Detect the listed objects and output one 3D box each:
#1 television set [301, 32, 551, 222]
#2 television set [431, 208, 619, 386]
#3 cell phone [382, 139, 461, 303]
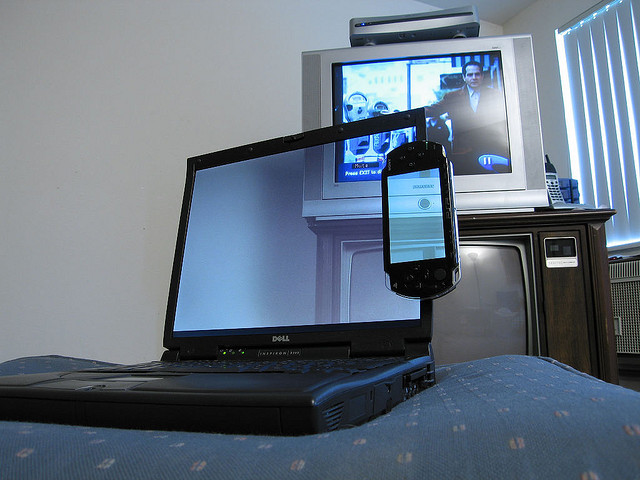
[{"bbox_3d":[0.303,-0.286,1.588,0.682,0.531,0.343,-1,-9,4],"label":"television set"},{"bbox_3d":[0.448,0.127,1.084,0.379,0.389,0.187,-1,-9,14],"label":"television set"},{"bbox_3d":[0.153,-0.035,0.776,0.118,0.246,0.053,-3,-3,19],"label":"cell phone"}]
